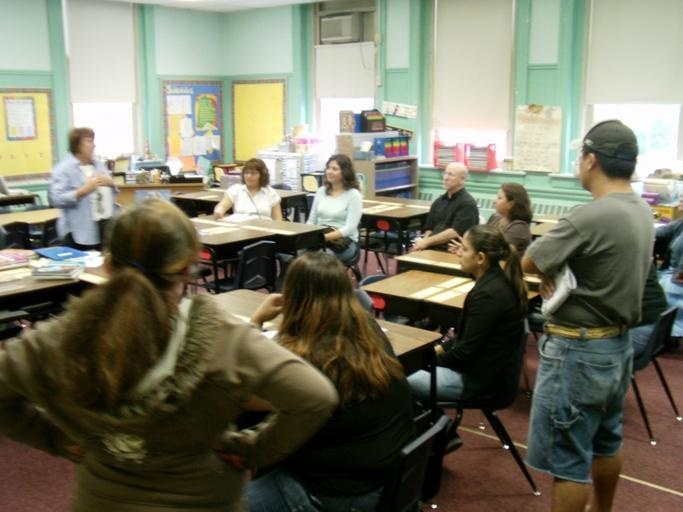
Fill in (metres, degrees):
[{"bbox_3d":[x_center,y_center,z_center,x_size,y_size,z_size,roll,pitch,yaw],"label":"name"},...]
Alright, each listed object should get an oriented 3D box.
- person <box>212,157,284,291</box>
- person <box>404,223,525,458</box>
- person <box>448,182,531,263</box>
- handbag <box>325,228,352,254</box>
[{"bbox_3d":[-1.100,-0.580,6.042,0.845,1.025,0.519,-4,11,-26],"label":"person"},{"bbox_3d":[0.790,0.319,2.894,0.442,1.128,0.262,8,-1,18],"label":"person"},{"bbox_3d":[1.346,-0.247,4.687,0.578,0.833,0.569,3,14,-12],"label":"person"},{"bbox_3d":[-0.044,-0.155,5.698,0.263,0.107,0.255,29,-44,-28],"label":"handbag"}]
